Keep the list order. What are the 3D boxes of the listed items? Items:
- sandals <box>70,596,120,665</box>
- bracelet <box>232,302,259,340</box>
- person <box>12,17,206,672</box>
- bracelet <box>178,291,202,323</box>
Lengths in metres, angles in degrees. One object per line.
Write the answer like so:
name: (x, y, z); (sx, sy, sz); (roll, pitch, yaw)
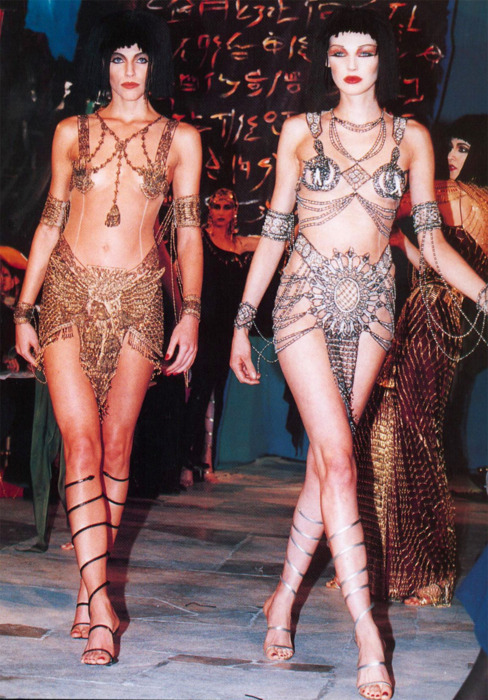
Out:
sandals: (-0.396, 0.759, 1.850); (0.095, 0.116, 0.296); (0, -12, -8)
bracelet: (0.008, -0.091, 2.071); (0.094, 0.112, 0.086); (12, -2, -11)
person: (-0.363, -0.086, 2.001); (0.575, 1.772, 1.005); (-1, 23, -22)
bracelet: (-0.174, -0.132, 2.133); (0.065, 0.062, 0.082); (1, -10, -3)
